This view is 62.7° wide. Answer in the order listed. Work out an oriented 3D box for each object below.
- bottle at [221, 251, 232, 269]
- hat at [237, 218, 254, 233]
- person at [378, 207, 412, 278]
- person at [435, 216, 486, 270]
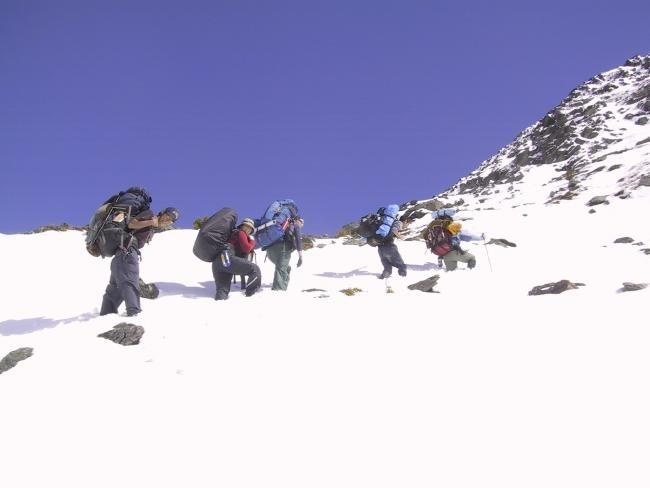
[{"bbox_3d":[-1.857,0.284,9.906,0.166,0.273,0.173,-11,-51,-13],"label":"bottle"},{"bbox_3d":[-1.456,-0.323,9.685,0.317,0.207,0.381,22,-14,0],"label":"hat"},{"bbox_3d":[1.629,-0.062,13.280,0.751,1.851,1.317,-2,14,8],"label":"person"},{"bbox_3d":[3.466,0.011,14.128,0.930,1.522,1.341,-1,14,10],"label":"person"}]
